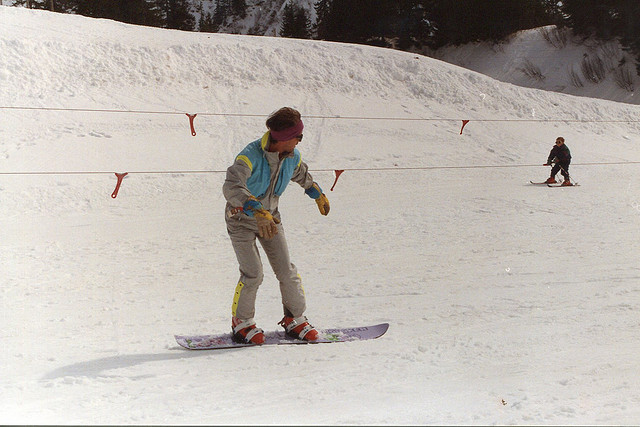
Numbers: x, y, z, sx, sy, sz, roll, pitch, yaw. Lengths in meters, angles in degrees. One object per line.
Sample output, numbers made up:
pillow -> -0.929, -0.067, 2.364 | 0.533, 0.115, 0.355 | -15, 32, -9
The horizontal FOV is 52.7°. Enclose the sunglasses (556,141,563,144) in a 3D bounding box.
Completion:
sunglasses -> 6.007, -1.779, 16.222 | 0.121, 0.082, 0.122 | 7, 16, 12

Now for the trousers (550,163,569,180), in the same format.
trousers -> 6.110, -1.077, 16.484 | 0.528, 0.465, 0.186 | 4, -2, 9

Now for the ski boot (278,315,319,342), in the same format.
ski boot -> -0.260, 1.540, 8.710 | 0.379, 0.269, 0.696 | -6, 8, -42

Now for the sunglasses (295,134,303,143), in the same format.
sunglasses -> -0.286, -0.979, 8.358 | 0.120, 0.071, 0.027 | 2, 3, -44

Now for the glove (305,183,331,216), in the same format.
glove -> -0.059, -0.173, 8.928 | 0.323, 0.454, 0.339 | 3, 17, -2

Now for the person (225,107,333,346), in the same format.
person -> -0.609, 0.191, 8.502 | 1.281, 3.118, 1.018 | 3, 18, -2

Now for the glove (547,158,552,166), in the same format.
glove -> 5.762, -1.302, 16.183 | 0.101, 0.121, 0.371 | 10, 16, 19

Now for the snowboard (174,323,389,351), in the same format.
snowboard -> -0.490, 1.674, 8.622 | 2.221, 0.148, 0.294 | -1, 23, -6

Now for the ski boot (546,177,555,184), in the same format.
ski boot -> 5.822, -0.828, 16.325 | 0.202, 0.159, 0.274 | 8, 16, 15
